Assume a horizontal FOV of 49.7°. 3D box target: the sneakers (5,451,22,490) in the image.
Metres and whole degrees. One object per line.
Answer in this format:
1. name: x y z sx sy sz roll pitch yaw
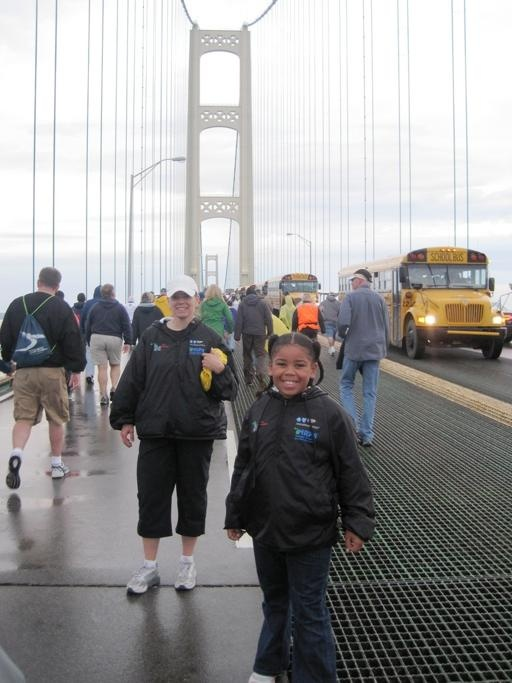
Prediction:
1. sneakers: -1.913 1.035 4.412 0.124 0.359 0.156 2 -1 -18

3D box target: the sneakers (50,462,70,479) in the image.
1. sneakers: -1.733 1.164 4.920 0.087 0.101 0.238 -1 4 4

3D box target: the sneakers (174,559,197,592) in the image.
1. sneakers: -0.352 1.174 2.748 0.102 0.136 0.111 -1 4 -6

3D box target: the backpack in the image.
1. backpack: -1.857 -0.071 4.632 0.327 0.606 0.207 -2 4 -19

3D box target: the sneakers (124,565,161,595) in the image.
1. sneakers: -0.556 1.188 2.717 0.112 0.114 0.209 0 4 15

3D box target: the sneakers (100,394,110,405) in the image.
1. sneakers: -2.339 0.952 8.610 0.084 0.101 0.254 -1 -4 -5

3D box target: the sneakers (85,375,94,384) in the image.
1. sneakers: -3.236 0.781 10.815 0.126 0.184 0.194 -2 -3 -4

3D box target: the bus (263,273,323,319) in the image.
1. bus: 2.231 -3.012 33.013 1.830 1.834 6.196 -1 2 -10

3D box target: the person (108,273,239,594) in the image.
1. person: -0.410 0.464 2.865 0.659 1.599 0.459 -2 4 -15
